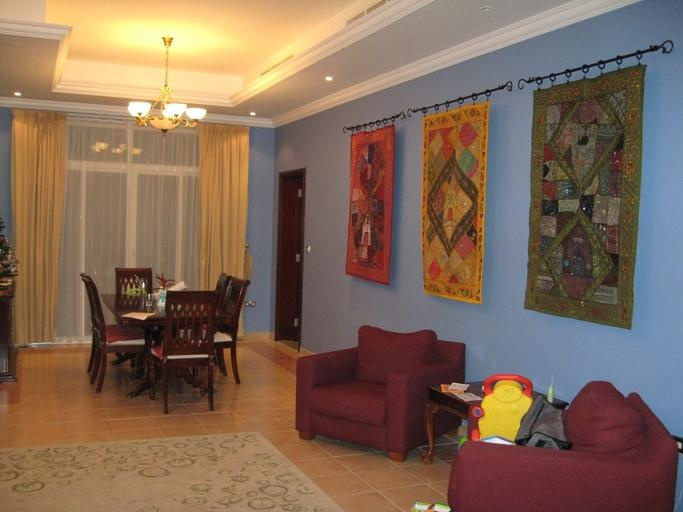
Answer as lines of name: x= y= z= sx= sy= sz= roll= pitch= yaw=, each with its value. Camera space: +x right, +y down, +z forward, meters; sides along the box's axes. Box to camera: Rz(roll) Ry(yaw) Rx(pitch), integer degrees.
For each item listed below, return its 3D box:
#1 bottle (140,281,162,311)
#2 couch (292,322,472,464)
bottle: x=-2.338 y=0.498 z=6.650 sx=0.258 sy=0.435 sz=0.270 roll=3 pitch=-7 yaw=0
couch: x=0.405 y=0.964 z=4.916 sx=1.204 sy=1.034 sz=1.120 roll=0 pitch=-1 yaw=41
